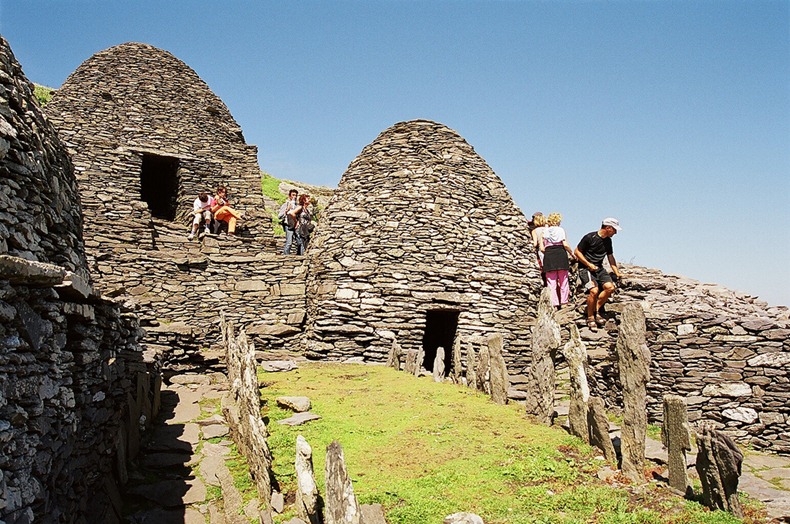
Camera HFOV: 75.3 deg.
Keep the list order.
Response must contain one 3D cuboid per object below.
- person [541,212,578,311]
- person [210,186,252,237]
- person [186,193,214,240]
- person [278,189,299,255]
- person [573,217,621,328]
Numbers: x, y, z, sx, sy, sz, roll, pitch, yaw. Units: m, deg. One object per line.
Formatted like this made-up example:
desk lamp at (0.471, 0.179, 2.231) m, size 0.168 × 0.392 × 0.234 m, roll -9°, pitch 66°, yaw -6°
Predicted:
person at (4.560, -0.029, 14.434) m, size 0.633 × 2.596 × 0.929 m, roll -5°, pitch 9°, yaw -12°
person at (-5.776, -1.725, 17.397) m, size 1.196 × 1.558 × 0.789 m, roll 3°, pitch 10°, yaw 37°
person at (-6.484, -1.638, 17.119) m, size 0.843 × 1.340 × 2.395 m, roll 3°, pitch 6°, yaw -22°
person at (-3.561, -1.354, 17.393) m, size 0.627 × 2.177 × 1.542 m, roll -5°, pitch 8°, yaw -12°
person at (4.958, 0.307, 12.608) m, size 0.971 × 2.680 × 0.862 m, roll -3°, pitch 8°, yaw 5°
